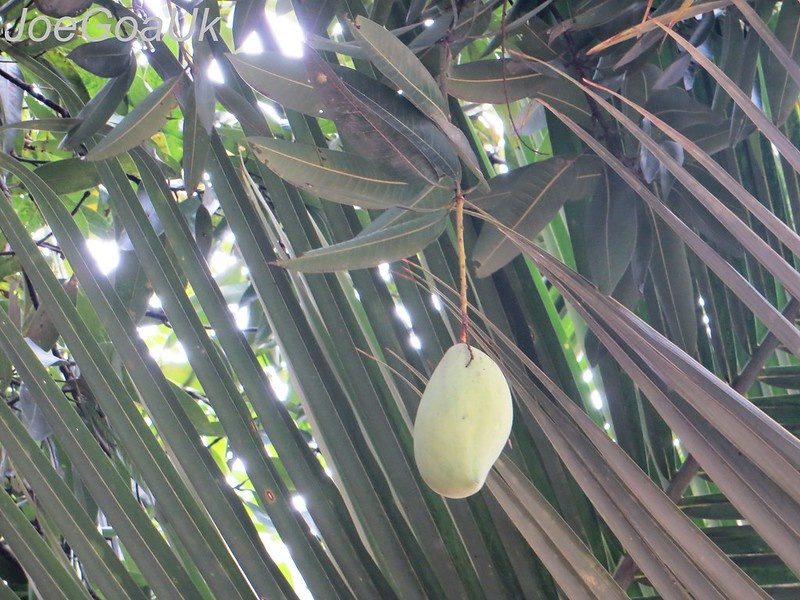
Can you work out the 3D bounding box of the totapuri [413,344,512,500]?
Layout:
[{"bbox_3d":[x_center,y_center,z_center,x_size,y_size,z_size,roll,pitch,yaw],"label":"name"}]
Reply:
[{"bbox_3d":[0.070,0.138,1.036,0.098,0.186,0.120,-5,-54,18],"label":"totapuri"}]
